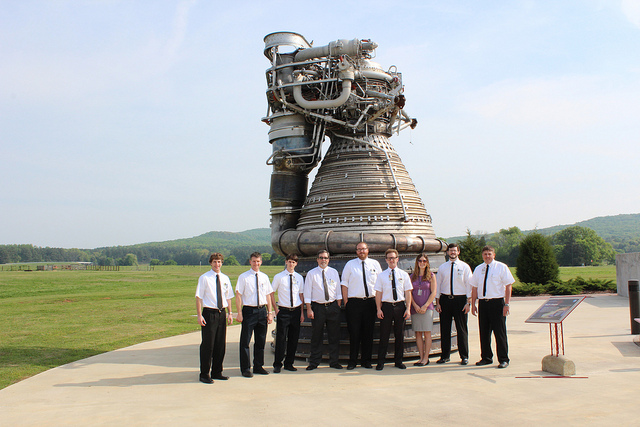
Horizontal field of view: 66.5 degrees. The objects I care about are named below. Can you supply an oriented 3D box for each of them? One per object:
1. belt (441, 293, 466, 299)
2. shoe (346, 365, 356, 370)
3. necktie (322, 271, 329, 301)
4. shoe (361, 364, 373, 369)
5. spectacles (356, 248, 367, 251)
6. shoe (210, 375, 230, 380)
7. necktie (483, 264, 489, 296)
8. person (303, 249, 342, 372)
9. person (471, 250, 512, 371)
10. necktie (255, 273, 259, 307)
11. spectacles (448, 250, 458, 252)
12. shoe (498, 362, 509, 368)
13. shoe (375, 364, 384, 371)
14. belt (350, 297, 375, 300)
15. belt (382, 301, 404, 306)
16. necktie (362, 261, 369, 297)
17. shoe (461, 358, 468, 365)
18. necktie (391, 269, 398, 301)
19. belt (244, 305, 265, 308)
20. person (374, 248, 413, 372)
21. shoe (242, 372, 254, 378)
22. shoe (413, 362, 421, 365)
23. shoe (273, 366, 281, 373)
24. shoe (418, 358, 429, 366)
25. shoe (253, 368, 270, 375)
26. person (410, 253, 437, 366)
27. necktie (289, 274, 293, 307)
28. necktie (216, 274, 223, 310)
[{"bbox_3d":[3.660,2.315,13.520,0.612,0.137,0.132,-5,-10,28],"label":"belt"},{"bbox_3d":[0.821,4.209,13.279,0.222,0.106,0.148,-1,-9,4],"label":"shoe"},{"bbox_3d":[0.151,2.008,13.441,0.078,0.754,0.198,-8,-12,38],"label":"necktie"},{"bbox_3d":[1.273,4.225,13.427,0.314,0.104,0.294,-2,-9,9],"label":"shoe"},{"bbox_3d":[1.153,0.996,13.337,0.230,0.072,0.051,0,-9,-6],"label":"spectacles"},{"bbox_3d":[-2.549,4.230,12.529,0.468,0.170,0.143,0,-10,4],"label":"shoe"},{"bbox_3d":[4.439,1.808,13.120,0.090,0.802,0.227,5,-11,-28],"label":"necktie"},{"bbox_3d":[0.075,2.702,13.495,1.087,3.252,0.732,0,-9,-4],"label":"person"},{"bbox_3d":[4.672,2.584,13.137,1.008,3.142,0.729,-5,-10,25],"label":"person"},{"bbox_3d":[-1.648,2.050,12.899,0.079,0.838,0.050,2,-10,-12],"label":"necktie"},{"bbox_3d":[3.712,1.066,13.687,0.226,0.064,0.111,-3,-9,19],"label":"spectacles"},{"bbox_3d":[4.867,4.049,12.963,0.339,0.124,0.137,4,-10,-28],"label":"shoe"},{"bbox_3d":[1.593,4.162,13.097,0.176,0.144,0.137,-1,-9,0],"label":"shoe"},{"bbox_3d":[1.123,2.340,13.317,0.510,0.053,0.042,-1,-9,2],"label":"belt"},{"bbox_3d":[1.975,2.468,13.262,0.556,0.116,0.109,-1,-9,6],"label":"belt"},{"bbox_3d":[1.245,1.825,13.324,0.161,0.937,0.079,1,-10,-8],"label":"necktie"},{"bbox_3d":[3.942,4.090,13.360,0.171,0.123,0.111,-8,9,-41],"label":"shoe"},{"bbox_3d":[2.008,1.954,13.195,0.117,0.807,0.132,-2,-10,7],"label":"necktie"},{"bbox_3d":[-1.715,2.475,12.885,0.505,0.065,0.113,2,-9,-16],"label":"belt"},{"bbox_3d":[1.973,2.642,13.289,1.068,3.233,0.641,-1,-10,5],"label":"person"},{"bbox_3d":[-1.886,4.243,12.742,0.274,0.099,0.110,0,-4,14],"label":"shoe"},{"bbox_3d":[2.696,4.213,13.591,0.160,0.037,0.148,0,-4,11],"label":"shoe"},{"bbox_3d":[-1.170,4.250,13.214,0.193,0.145,0.173,-1,-9,5],"label":"shoe"},{"bbox_3d":[2.911,4.180,13.606,0.174,0.140,0.443,-8,-12,41],"label":"shoe"},{"bbox_3d":[-1.561,4.235,13.014,0.452,0.253,0.139,1,-6,-1],"label":"shoe"},{"bbox_3d":[2.886,2.696,13.566,0.715,3.092,0.746,-2,-10,9],"label":"person"},{"bbox_3d":[-0.791,2.126,13.431,0.072,0.855,0.051,-1,-10,2],"label":"necktie"},{"bbox_3d":[-2.570,2.021,12.513,0.185,0.847,0.100,5,-11,-31],"label":"necktie"}]
